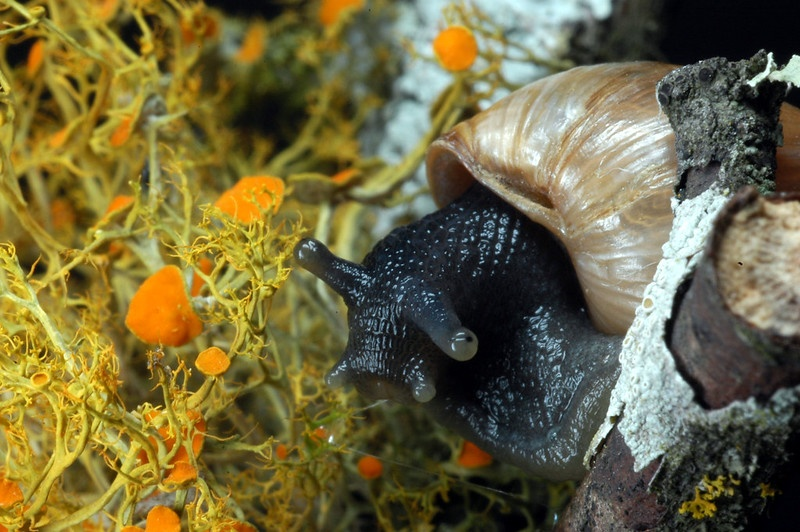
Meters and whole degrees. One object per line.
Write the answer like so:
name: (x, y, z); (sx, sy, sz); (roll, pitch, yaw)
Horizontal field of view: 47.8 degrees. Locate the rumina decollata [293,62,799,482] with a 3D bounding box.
rumina decollata: (0.237, 0.095, 1.510); (0.740, 0.405, 0.524); (-30, 52, 6)
